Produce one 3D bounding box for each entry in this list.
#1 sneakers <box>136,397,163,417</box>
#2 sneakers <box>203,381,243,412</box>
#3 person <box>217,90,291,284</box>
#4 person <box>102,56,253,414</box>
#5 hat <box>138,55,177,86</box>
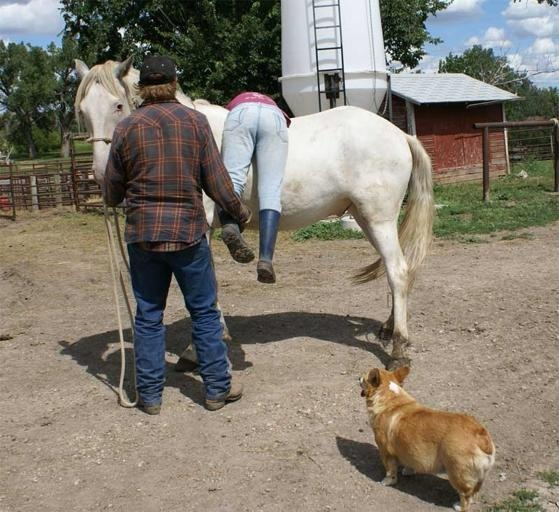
[{"bbox_3d":[-0.948,1.083,4.003,0.087,0.076,0.227,-7,14,-42],"label":"sneakers"},{"bbox_3d":[-0.405,1.027,4.094,0.136,0.107,0.286,20,32,36],"label":"sneakers"},{"bbox_3d":[-0.163,-0.575,4.358,0.547,1.461,0.662,3,-17,-5],"label":"person"},{"bbox_3d":[-0.697,-0.095,3.802,0.917,2.483,0.424,-9,14,-13],"label":"person"},{"bbox_3d":[-0.817,-1.239,3.705,0.252,0.214,0.187,-9,13,-21],"label":"hat"}]
